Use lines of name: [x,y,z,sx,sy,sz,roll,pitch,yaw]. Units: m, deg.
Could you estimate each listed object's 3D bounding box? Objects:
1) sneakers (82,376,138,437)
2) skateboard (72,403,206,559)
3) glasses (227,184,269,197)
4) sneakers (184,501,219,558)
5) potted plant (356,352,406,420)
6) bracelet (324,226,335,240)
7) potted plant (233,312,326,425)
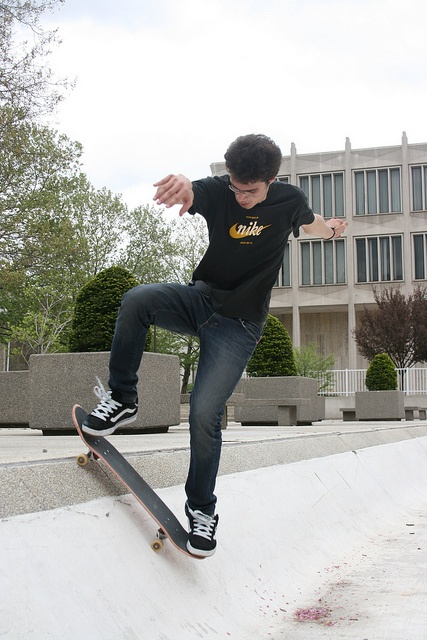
sneakers: [-0.452,0.364,2.425,0.112,0.193,0.306,5,2,23]
skateboard: [-0.331,0.584,2.222,0.638,0.367,0.284,3,-5,39]
glasses: [0.121,-0.471,2.201,0.099,0.026,0.051,6,-4,6]
sneakers: [-0.046,0.739,2.110,0.071,0.081,0.206,16,5,-9]
potted plant: [4.750,1.937,17.017,1.222,1.930,1.213,-3,-15,22]
bracelet: [0.586,-0.437,3.035,0.026,0.069,0.063,21,15,29]
potted plant: [1.135,0.933,12.165,2.122,1.904,1.228,1,-1,42]
